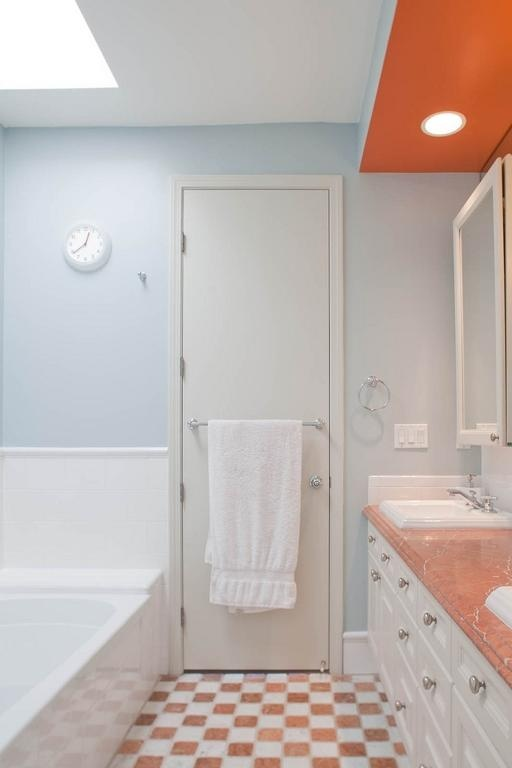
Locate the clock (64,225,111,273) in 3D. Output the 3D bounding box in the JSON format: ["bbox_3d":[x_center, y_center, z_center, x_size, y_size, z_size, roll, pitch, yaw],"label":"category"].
[{"bbox_3d":[-0.696,-0.565,2.561,0.186,0.193,0.039,0,5,7],"label":"clock"}]

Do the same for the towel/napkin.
[{"bbox_3d":[-0.016,0.519,2.423,0.364,0.840,0.110,3,-39,-3],"label":"towel/napkin"}]

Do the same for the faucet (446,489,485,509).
[{"bbox_3d":[0.771,0.445,2.257,0.052,0.072,0.226,23,-2,42],"label":"faucet"}]
